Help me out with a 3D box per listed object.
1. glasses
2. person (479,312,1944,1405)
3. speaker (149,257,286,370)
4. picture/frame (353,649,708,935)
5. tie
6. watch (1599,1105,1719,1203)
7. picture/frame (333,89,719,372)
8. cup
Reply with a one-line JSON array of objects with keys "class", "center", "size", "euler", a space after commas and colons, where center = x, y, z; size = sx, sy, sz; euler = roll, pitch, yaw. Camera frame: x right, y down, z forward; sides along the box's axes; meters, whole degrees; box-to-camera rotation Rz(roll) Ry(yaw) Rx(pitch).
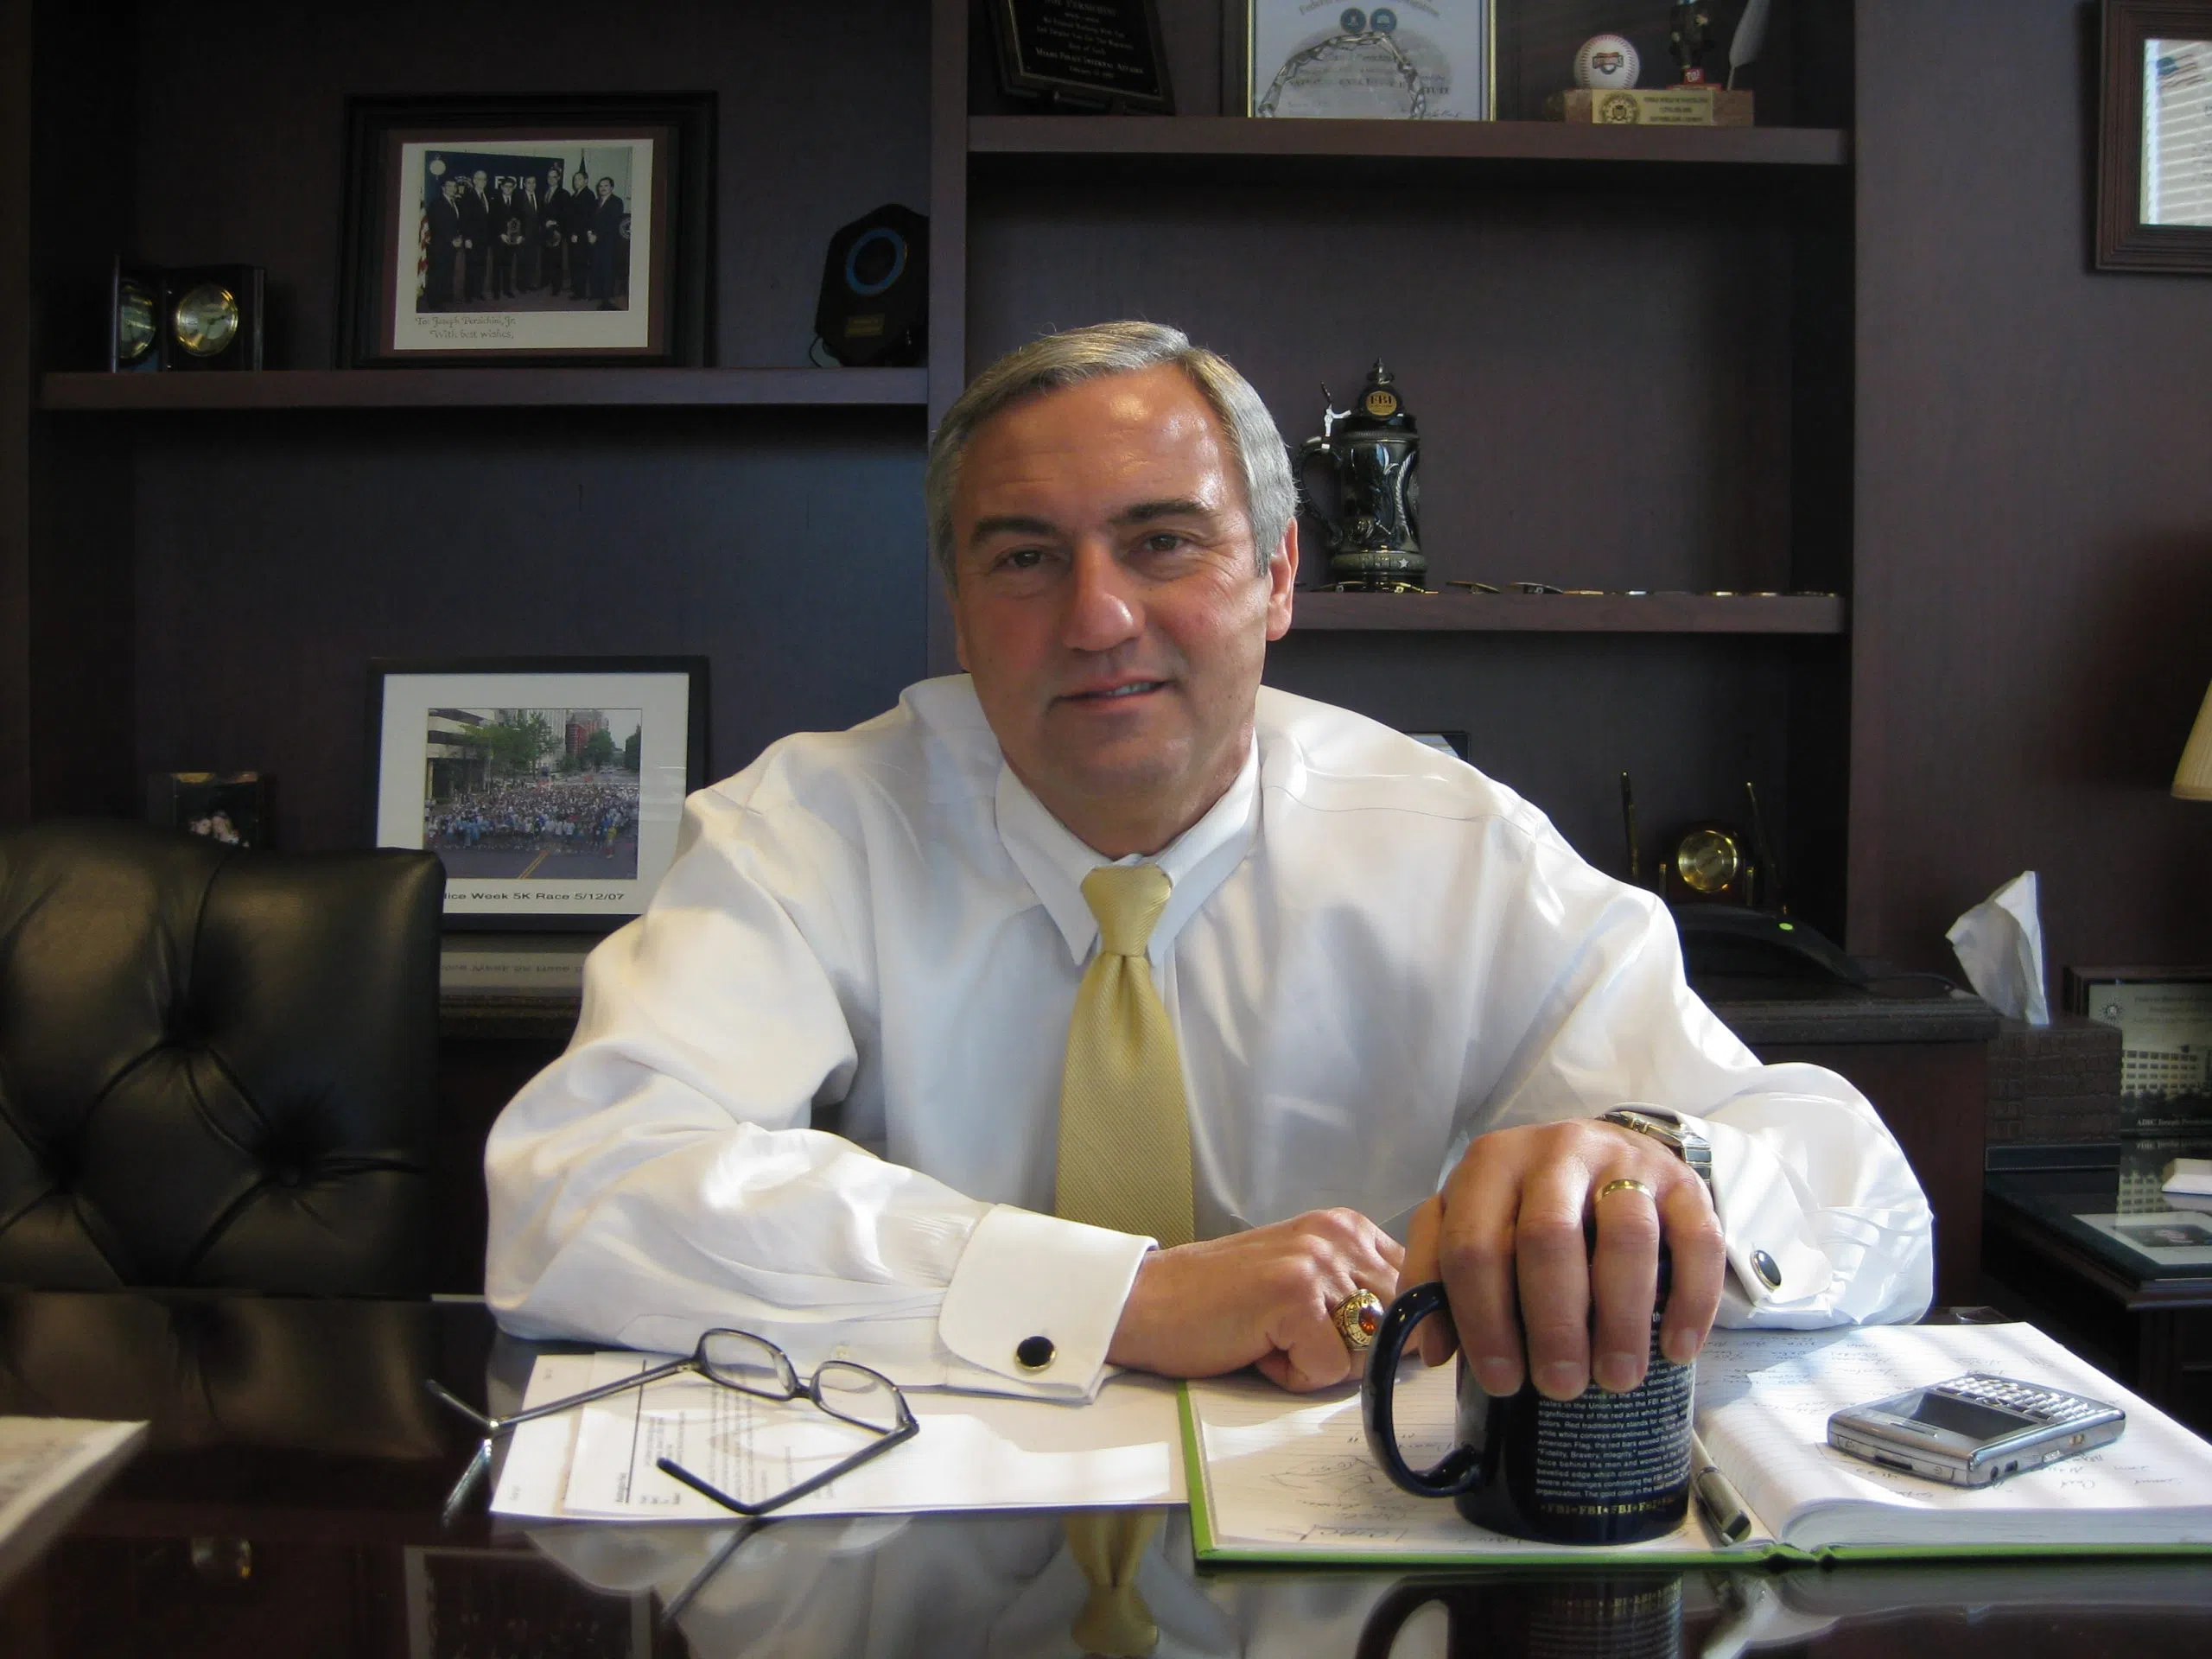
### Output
[{"class": "glasses", "center": [-0.266, 0.426, 1.381], "size": [0.172, 0.066, 0.166], "euler": [9, 21, 34]}, {"class": "person", "center": [0.065, 0.063, 1.763], "size": [1.200, 1.065, 0.879], "euler": [3, 3, 0]}, {"class": "speaker", "center": [-1.321, -0.771, 2.865], "size": [0.177, 0.203, 0.051], "euler": [1, 1, 0]}, {"class": "picture/frame", "center": [-0.822, -0.051, 2.745], "size": [0.369, 0.339, 0.028], "euler": [2, -13, 0]}, {"class": "tie", "center": [0.011, 0.226, 1.703], "size": [0.135, 0.495, 0.050], "euler": [5, 45, 5]}, {"class": "watch", "center": [0.406, 0.222, 1.420], "size": [0.081, 0.038, 0.061], "euler": [38, 30, 29]}, {"class": "picture/frame", "center": [-0.877, -0.904, 2.852], "size": [0.401, 0.335, 0.038], "euler": [2, -5, -1]}, {"class": "cup", "center": [0.275, 0.379, 1.269], "size": [0.211, 0.168, 0.130], "euler": [1, -5, -3]}]
